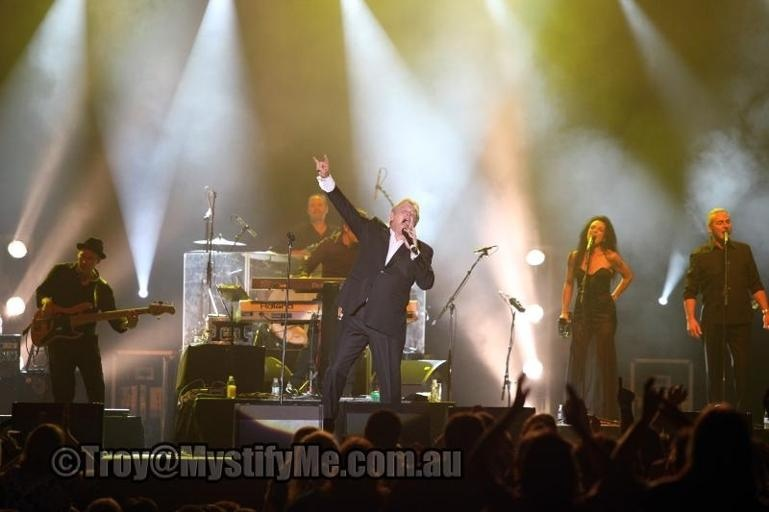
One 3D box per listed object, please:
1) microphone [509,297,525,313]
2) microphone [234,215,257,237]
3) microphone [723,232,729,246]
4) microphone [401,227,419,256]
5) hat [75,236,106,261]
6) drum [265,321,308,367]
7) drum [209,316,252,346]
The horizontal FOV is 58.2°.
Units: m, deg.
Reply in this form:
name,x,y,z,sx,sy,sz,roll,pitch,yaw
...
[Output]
name,x,y,z,sx,sy,sz,roll,pitch,yaw
microphone,1.984,0.734,10.387,0.208,0.222,0.685,2,-10,10
microphone,-2.271,-0.512,11.425,0.258,0.225,0.712,6,14,-42
microphone,4.204,-0.215,8.486,0.044,0.174,0.214,-2,-11,32
microphone,0.271,-0.140,6.995,0.194,0.298,0.290,3,-9,1
hat,-3.604,-0.022,8.589,0.316,0.147,0.380,25,-16,3
drum,-1.341,1.220,9.619,0.493,0.567,1.254,6,-10,-17
drum,-2.013,0.953,8.846,0.534,0.320,0.460,4,-9,-6
